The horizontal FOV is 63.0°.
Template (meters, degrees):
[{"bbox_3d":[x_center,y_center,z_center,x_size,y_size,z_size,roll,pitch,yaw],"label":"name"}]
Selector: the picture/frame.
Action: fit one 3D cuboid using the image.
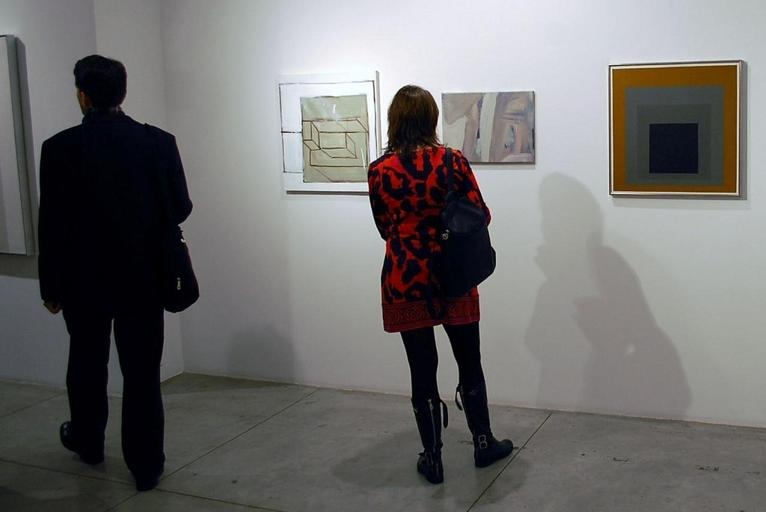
[{"bbox_3d":[1.958,-0.866,4.091,0.872,0.947,0.095,1,5,18],"label":"picture/frame"}]
